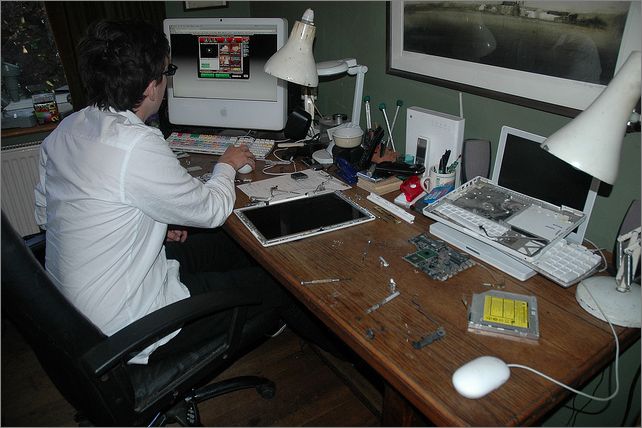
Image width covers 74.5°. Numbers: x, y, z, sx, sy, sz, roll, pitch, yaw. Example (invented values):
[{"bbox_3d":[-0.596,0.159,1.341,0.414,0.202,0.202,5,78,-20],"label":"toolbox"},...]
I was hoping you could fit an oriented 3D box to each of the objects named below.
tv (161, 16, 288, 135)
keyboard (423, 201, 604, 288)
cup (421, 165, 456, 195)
[{"bbox_3d":[-0.512,-0.770,2.293,0.802,0.634,0.104,8,21,5],"label":"tv"},{"bbox_3d":[0.699,0.084,1.510,0.220,0.041,0.400,-27,41,-35],"label":"keyboard"},{"bbox_3d":[0.518,-0.152,1.920,0.152,0.104,0.095,-22,35,-21],"label":"cup"}]
